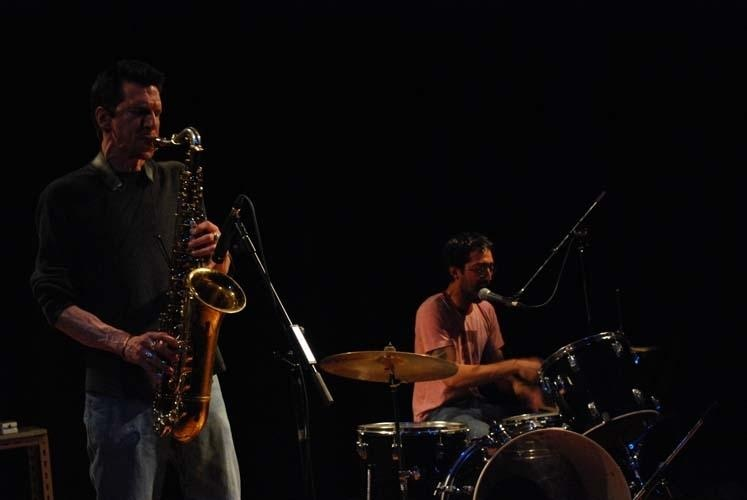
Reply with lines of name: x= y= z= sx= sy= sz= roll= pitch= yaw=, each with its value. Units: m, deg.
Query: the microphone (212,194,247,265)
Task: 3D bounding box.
microphone: x=-0.774 y=-0.104 z=3.665 sx=0.189 sy=0.391 sz=0.178 roll=-3 pitch=13 yaw=-13

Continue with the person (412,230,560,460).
person: x=0.806 y=0.819 z=5.071 sx=0.870 sy=1.814 sz=1.113 roll=1 pitch=-2 yaw=-28

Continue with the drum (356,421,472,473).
drum: x=0.243 y=1.239 z=4.428 sx=0.594 sy=0.343 sz=0.486 roll=5 pitch=-2 yaw=-34

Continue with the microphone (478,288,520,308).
microphone: x=0.888 y=0.341 z=4.902 sx=0.284 sy=0.119 sz=0.527 roll=5 pitch=-2 yaw=6

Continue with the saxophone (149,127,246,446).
saxophone: x=-1.008 y=0.187 z=3.825 sx=0.553 sy=1.675 sz=0.546 roll=6 pitch=12 yaw=-1

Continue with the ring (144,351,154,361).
ring: x=-1.162 y=0.550 z=3.548 sx=0.051 sy=0.049 sz=0.015 roll=0 pitch=-4 yaw=-5

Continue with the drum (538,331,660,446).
drum: x=1.404 y=0.851 z=4.527 sx=0.639 sy=0.462 sz=0.652 roll=-23 pitch=-26 yaw=-12

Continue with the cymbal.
cymbal: x=0.120 y=0.699 z=4.393 sx=0.657 sy=0.273 sz=0.726 roll=3 pitch=-2 yaw=20
